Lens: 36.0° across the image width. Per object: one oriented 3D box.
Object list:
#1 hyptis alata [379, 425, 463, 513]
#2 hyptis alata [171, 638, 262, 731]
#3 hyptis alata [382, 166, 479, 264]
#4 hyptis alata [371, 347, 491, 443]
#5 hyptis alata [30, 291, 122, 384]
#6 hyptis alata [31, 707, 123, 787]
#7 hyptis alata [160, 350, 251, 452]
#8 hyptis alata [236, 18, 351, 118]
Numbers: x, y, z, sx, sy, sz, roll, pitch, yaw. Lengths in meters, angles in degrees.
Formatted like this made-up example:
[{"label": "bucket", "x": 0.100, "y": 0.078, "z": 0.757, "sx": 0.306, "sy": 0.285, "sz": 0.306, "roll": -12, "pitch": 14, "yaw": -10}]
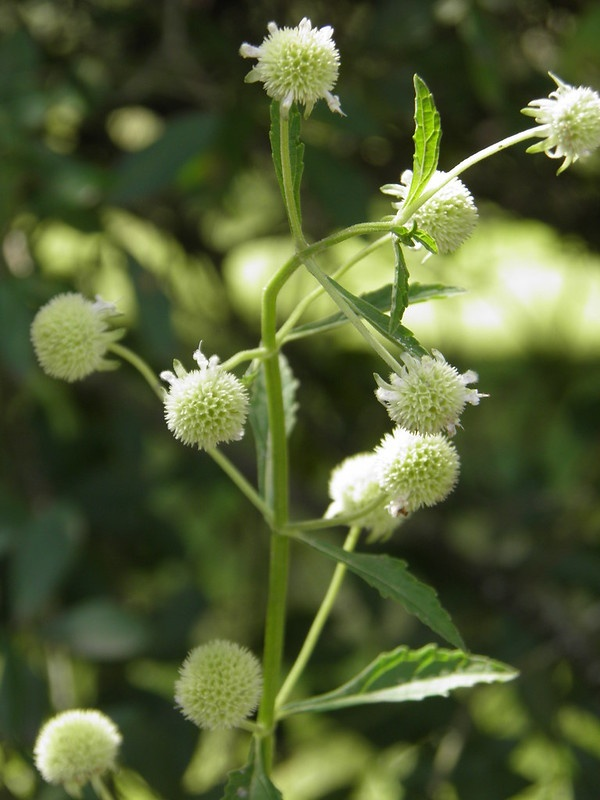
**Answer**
[{"label": "hyptis alata", "x": 0.153, "y": 0.105, "z": 1.332, "sx": 0.116, "sy": 0.106, "sz": 0.110, "roll": -15, "pitch": -18, "yaw": 26}, {"label": "hyptis alata", "x": -0.118, "y": 0.402, "z": 1.367, "sx": 0.096, "sy": 0.080, "sz": 0.091, "roll": 5, "pitch": 4, "yaw": 27}, {"label": "hyptis alata", "x": 0.198, "y": -0.261, "z": 1.299, "sx": 0.161, "sy": 0.106, "sz": 0.108, "roll": 13, "pitch": 42, "yaw": 13}, {"label": "hyptis alata", "x": 0.171, "y": 0.001, "z": 1.262, "sx": 0.118, "sy": 0.101, "sz": 0.115, "roll": -11, "pitch": -9, "yaw": 21}, {"label": "hyptis alata", "x": -0.330, "y": -0.096, "z": 1.374, "sx": 0.129, "sy": 0.107, "sz": 0.099, "roll": -16, "pitch": 27, "yaw": -19}, {"label": "hyptis alata", "x": -0.338, "y": 0.540, "z": 1.427, "sx": 0.145, "sy": 0.123, "sz": 0.120, "roll": -9, "pitch": 52, "yaw": -9}, {"label": "hyptis alata", "x": -0.129, "y": 0.002, "z": 1.268, "sx": 0.113, "sy": 0.140, "sz": 0.110, "roll": -8, "pitch": 26, "yaw": -3}, {"label": "hyptis alata", "x": -0.011, "y": -0.446, "z": 1.236, "sx": 0.137, "sy": 0.121, "sz": 0.103, "roll": 5, "pitch": 32, "yaw": -24}]
